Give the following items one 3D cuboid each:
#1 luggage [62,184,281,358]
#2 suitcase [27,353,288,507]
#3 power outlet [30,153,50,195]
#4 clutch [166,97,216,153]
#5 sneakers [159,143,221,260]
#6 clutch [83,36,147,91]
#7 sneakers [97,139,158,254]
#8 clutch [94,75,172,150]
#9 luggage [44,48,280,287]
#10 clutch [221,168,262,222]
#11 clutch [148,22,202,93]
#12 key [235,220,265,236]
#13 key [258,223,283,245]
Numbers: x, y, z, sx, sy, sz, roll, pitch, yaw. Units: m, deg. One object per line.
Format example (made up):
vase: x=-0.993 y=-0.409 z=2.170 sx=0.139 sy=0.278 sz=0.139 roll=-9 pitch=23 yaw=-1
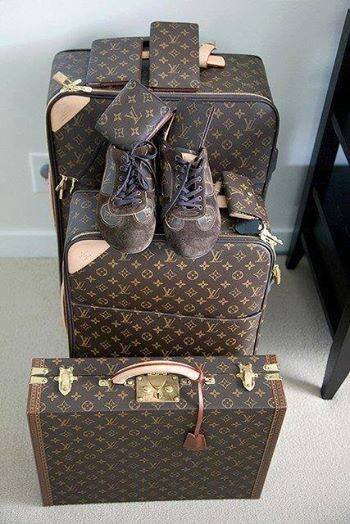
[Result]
luggage: x=-0.024 y=0.061 z=1.108 sx=0.481 sy=0.414 sz=0.248 roll=1 pitch=45 yaw=-4
suitcase: x=-0.043 y=0.332 z=0.939 sx=0.419 sy=0.358 sz=0.138 roll=0 pitch=50 yaw=-4
power outlet: x=-0.389 y=-0.267 z=1.426 sx=0.012 sy=0.122 sz=0.092 roll=7 pitch=15 yaw=38
clutch: x=0.030 y=-0.270 z=0.948 sx=0.088 sy=0.118 sz=0.028 roll=21 pitch=18 yaw=26
sneakers: x=0.023 y=-0.103 z=0.936 sx=0.096 sy=0.090 sz=0.232 roll=-7 pitch=84 yaw=-4
clutch: x=-0.123 y=-0.431 z=1.026 sx=0.149 sy=0.028 sz=0.157 roll=15 pitch=65 yaw=3
sneakers: x=-0.093 y=-0.118 z=0.922 sx=0.090 sy=0.099 sz=0.237 roll=-4 pitch=72 yaw=-4
clutch: x=-0.070 y=-0.289 z=0.928 sx=0.115 sy=0.099 sz=0.129 roll=23 pitch=47 yaw=20
luggage: x=-0.117 y=-0.192 z=1.265 sx=0.695 sy=0.655 sz=0.247 roll=-2 pitch=38 yaw=-5
clutch: x=0.131 y=-0.131 z=0.997 sx=0.090 sy=0.027 sz=0.102 roll=9 pitch=50 yaw=-28
clutch: x=0.002 y=-0.438 z=1.051 sx=0.130 sy=0.170 sz=0.036 roll=5 pitch=58 yaw=-5
key: x=0.146 y=-0.068 z=0.934 sx=0.055 sy=0.021 sz=0.031 roll=6 pitch=43 yaw=3
key: x=0.193 y=-0.054 z=0.971 sx=0.016 sy=0.054 sz=0.036 roll=-4 pitch=68 yaw=42
